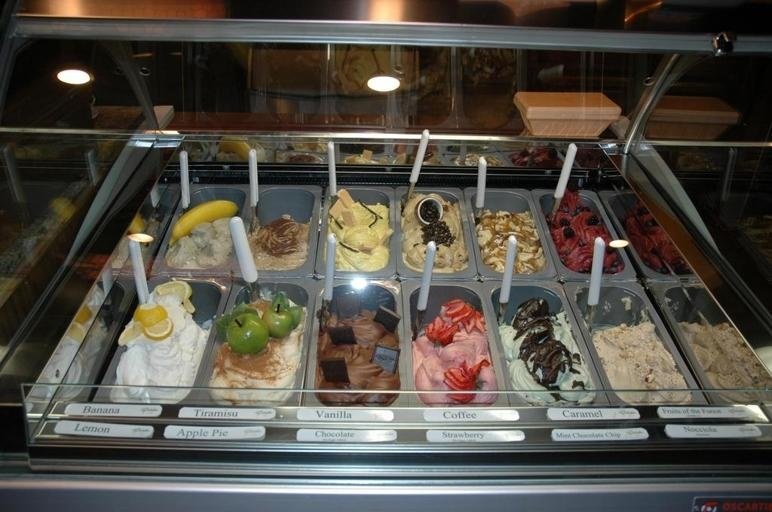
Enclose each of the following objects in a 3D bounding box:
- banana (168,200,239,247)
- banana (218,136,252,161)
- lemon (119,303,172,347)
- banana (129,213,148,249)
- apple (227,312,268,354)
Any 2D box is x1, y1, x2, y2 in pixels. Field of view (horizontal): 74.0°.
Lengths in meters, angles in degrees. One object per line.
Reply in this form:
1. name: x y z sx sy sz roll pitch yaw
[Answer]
1. banana: -0.825 -0.176 2.402 0.361 0.115 0.104 -28 -36 -33
2. banana: -0.712 -0.512 2.435 0.167 0.065 0.078 17 -49 9
3. lemon: -0.881 0.253 1.861 0.190 0.133 0.109 -7 -45 5
4. banana: -1.020 -0.115 2.115 0.080 0.074 0.080 17 -49 -8
5. apple: -0.495 0.279 1.841 0.150 0.130 0.144 8 -45 -11
